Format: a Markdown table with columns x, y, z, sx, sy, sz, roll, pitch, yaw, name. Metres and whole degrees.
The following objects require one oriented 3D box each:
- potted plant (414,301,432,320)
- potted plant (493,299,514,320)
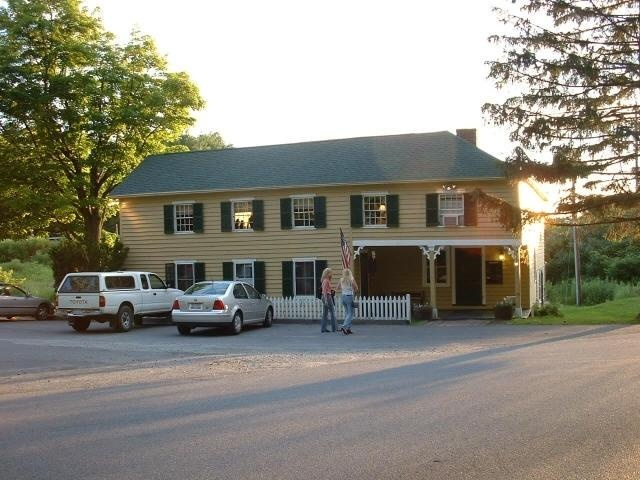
| x | y | z | sx | sy | sz | roll | pitch | yaw | name |
| --- | --- | --- | --- | --- | --- | --- | --- | --- | --- |
| 4.214 | 3.024 | 25.953 | 0.773 | 0.582 | 0.456 | -1 | 0 | 7 | potted plant |
| 7.348 | 2.875 | 25.397 | 0.775 | 0.814 | 0.689 | -1 | -2 | 5 | potted plant |
